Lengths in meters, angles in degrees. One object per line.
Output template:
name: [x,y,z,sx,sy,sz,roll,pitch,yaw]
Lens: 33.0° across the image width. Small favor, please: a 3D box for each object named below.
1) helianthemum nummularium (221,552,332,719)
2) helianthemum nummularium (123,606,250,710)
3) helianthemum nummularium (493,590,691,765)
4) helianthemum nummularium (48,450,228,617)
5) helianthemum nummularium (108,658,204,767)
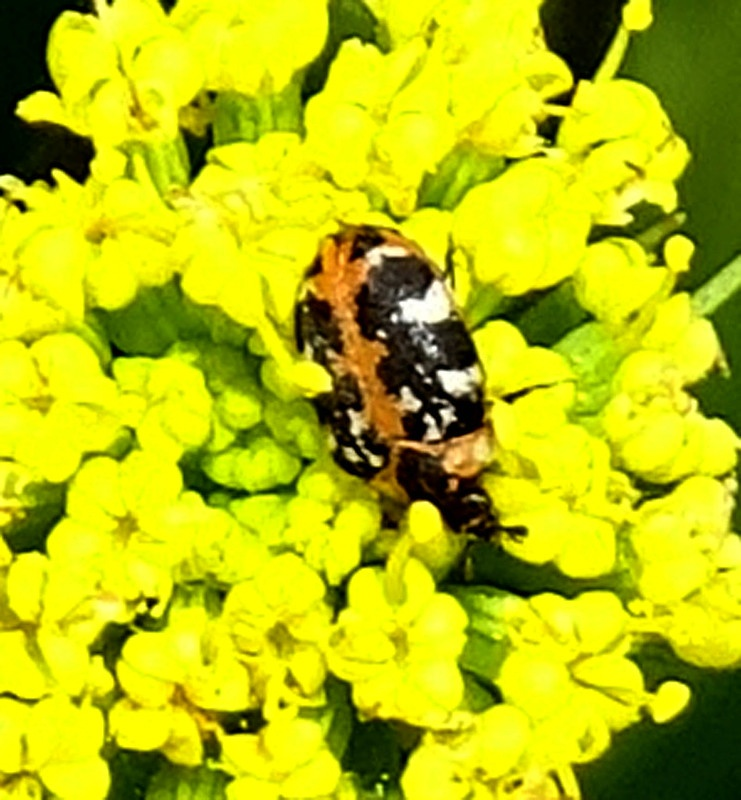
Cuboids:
helianthemum nummularium: [-0.091,0.246,1.318,0.113,0.059,0.152,-24,82,-2]
helianthemum nummularium: [-0.195,0.282,1.324,0.114,0.028,0.114,-9,94,2]
helianthemum nummularium: [0.242,0.284,1.383,0.177,0.131,0.181,-4,88,32]
helianthemum nummularium: [-0.257,0.136,1.334,0.159,0.052,0.163,38,84,5]
helianthemum nummularium: [-0.238,0.332,1.387,0.098,0.082,0.111,-8,109,-14]
